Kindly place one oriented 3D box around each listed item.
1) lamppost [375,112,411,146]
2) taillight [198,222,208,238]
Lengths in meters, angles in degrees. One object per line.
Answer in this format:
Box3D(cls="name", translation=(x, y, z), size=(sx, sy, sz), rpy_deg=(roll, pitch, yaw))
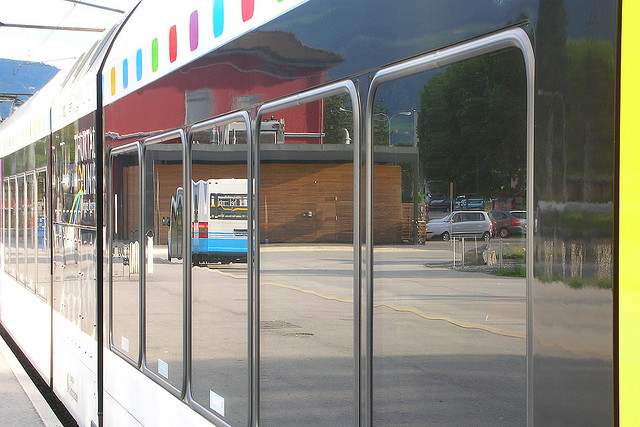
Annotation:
Box3D(cls="lamppost", translation=(0.312, -0.349, 2.919), size=(0.009, 0.106, 0.151), rpy_deg=(-1, 0, -41))
Box3D(cls="taillight", translation=(-0.658, 0.097, 4.102), size=(0.019, 0.078, 0.079), rpy_deg=(7, -3, -41))
